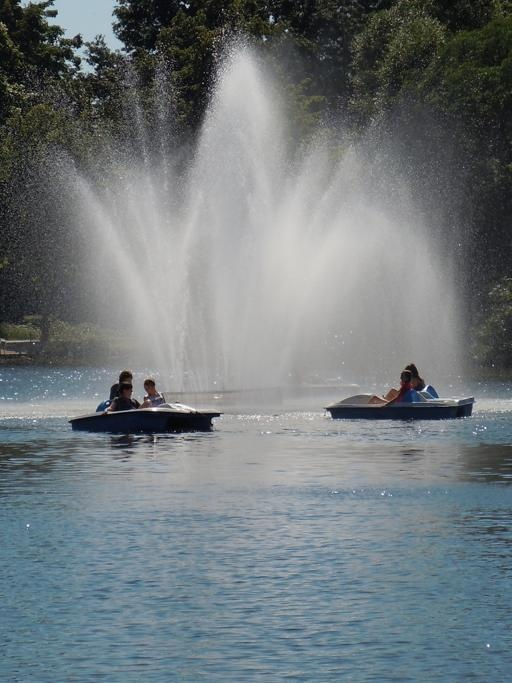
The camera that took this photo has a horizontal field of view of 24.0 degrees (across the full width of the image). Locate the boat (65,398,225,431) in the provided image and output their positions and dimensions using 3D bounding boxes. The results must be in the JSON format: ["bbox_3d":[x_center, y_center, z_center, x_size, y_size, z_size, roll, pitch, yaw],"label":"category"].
[{"bbox_3d":[-2.156,1.533,23.360,2.826,0.604,1.536,-1,-1,-10],"label":"boat"}]

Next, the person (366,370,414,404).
[{"bbox_3d":[2.910,0.998,25.796,0.804,0.736,1.237,-1,-1,-20],"label":"person"}]
